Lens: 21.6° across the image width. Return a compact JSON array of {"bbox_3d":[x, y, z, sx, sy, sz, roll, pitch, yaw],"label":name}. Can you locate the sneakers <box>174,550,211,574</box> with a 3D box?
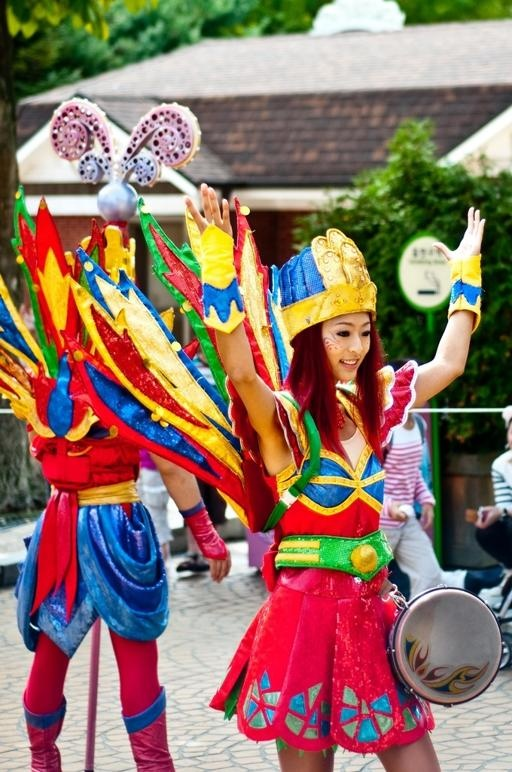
[{"bbox_3d":[-0.401,1.144,8.585,0.288,0.183,0.092,2,4,-3],"label":"sneakers"}]

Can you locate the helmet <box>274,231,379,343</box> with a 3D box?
[{"bbox_3d":[0.200,-0.256,3.594,0.257,0.309,0.316,-3,7,-36],"label":"helmet"}]
